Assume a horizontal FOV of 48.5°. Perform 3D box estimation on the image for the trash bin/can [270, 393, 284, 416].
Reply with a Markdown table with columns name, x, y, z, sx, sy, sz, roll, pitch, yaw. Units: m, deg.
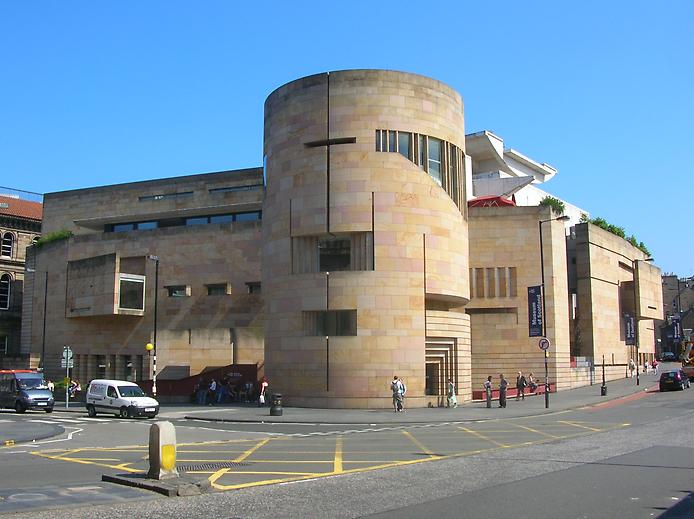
| name | x | y | z | sx | sy | sz | roll | pitch | yaw |
| --- | --- | --- | --- | --- | --- | --- | --- | --- | --- |
| trash bin/can | -3.665 | 7.467 | 39.727 | 0.633 | 1.155 | 0.983 | -1 | -11 | -7 |

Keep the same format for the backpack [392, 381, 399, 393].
| name | x | y | z | sx | sy | sz | roll | pitch | yaw |
| --- | --- | --- | --- | --- | --- | --- | --- | --- | --- |
| backpack | 2.690 | 6.864 | 41.763 | 0.640 | 0.585 | 0.345 | 0 | -9 | 5 |
